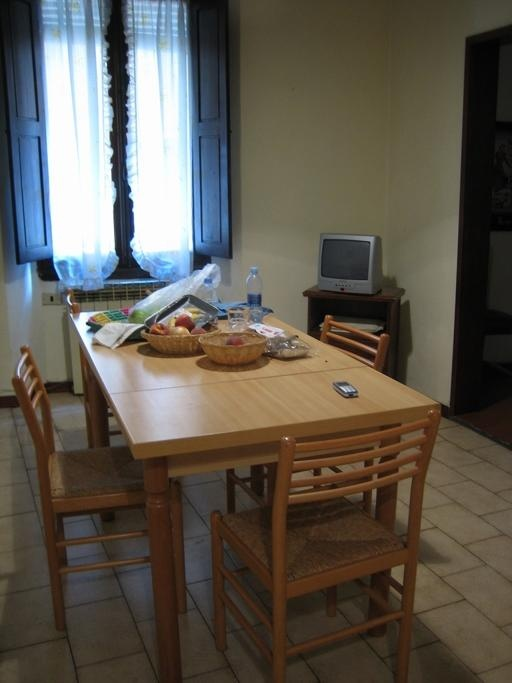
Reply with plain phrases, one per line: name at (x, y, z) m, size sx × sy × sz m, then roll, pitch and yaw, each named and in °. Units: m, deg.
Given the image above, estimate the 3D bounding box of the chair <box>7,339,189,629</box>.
chair at (-0.479, 0.435, 1.629) m, size 0.404 × 0.688 × 0.396 m, roll -2°, pitch 11°, yaw -27°

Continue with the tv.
tv at (0.622, -0.502, 3.608) m, size 0.444 × 0.480 × 0.351 m, roll 4°, pitch 11°, yaw 28°

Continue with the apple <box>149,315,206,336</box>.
apple at (-0.291, -0.051, 1.946) m, size 0.111 × 0.051 × 0.120 m, roll -6°, pitch 0°, yaw -31°

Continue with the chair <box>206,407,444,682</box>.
chair at (0.162, 0.520, 1.306) m, size 0.397 × 0.779 × 0.469 m, roll -7°, pitch 26°, yaw -20°

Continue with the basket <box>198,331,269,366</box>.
basket at (-0.096, 0.021, 1.710) m, size 0.135 × 0.054 × 0.134 m, roll -7°, pitch 11°, yaw -42°

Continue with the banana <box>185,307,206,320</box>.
banana at (-0.232, -0.110, 2.099) m, size 0.039 × 0.021 × 0.073 m, roll 1°, pitch 18°, yaw -23°

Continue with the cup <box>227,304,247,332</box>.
cup at (-0.076, -0.087, 2.201) m, size 0.084 × 0.042 × 0.120 m, roll -3°, pitch 22°, yaw -13°
